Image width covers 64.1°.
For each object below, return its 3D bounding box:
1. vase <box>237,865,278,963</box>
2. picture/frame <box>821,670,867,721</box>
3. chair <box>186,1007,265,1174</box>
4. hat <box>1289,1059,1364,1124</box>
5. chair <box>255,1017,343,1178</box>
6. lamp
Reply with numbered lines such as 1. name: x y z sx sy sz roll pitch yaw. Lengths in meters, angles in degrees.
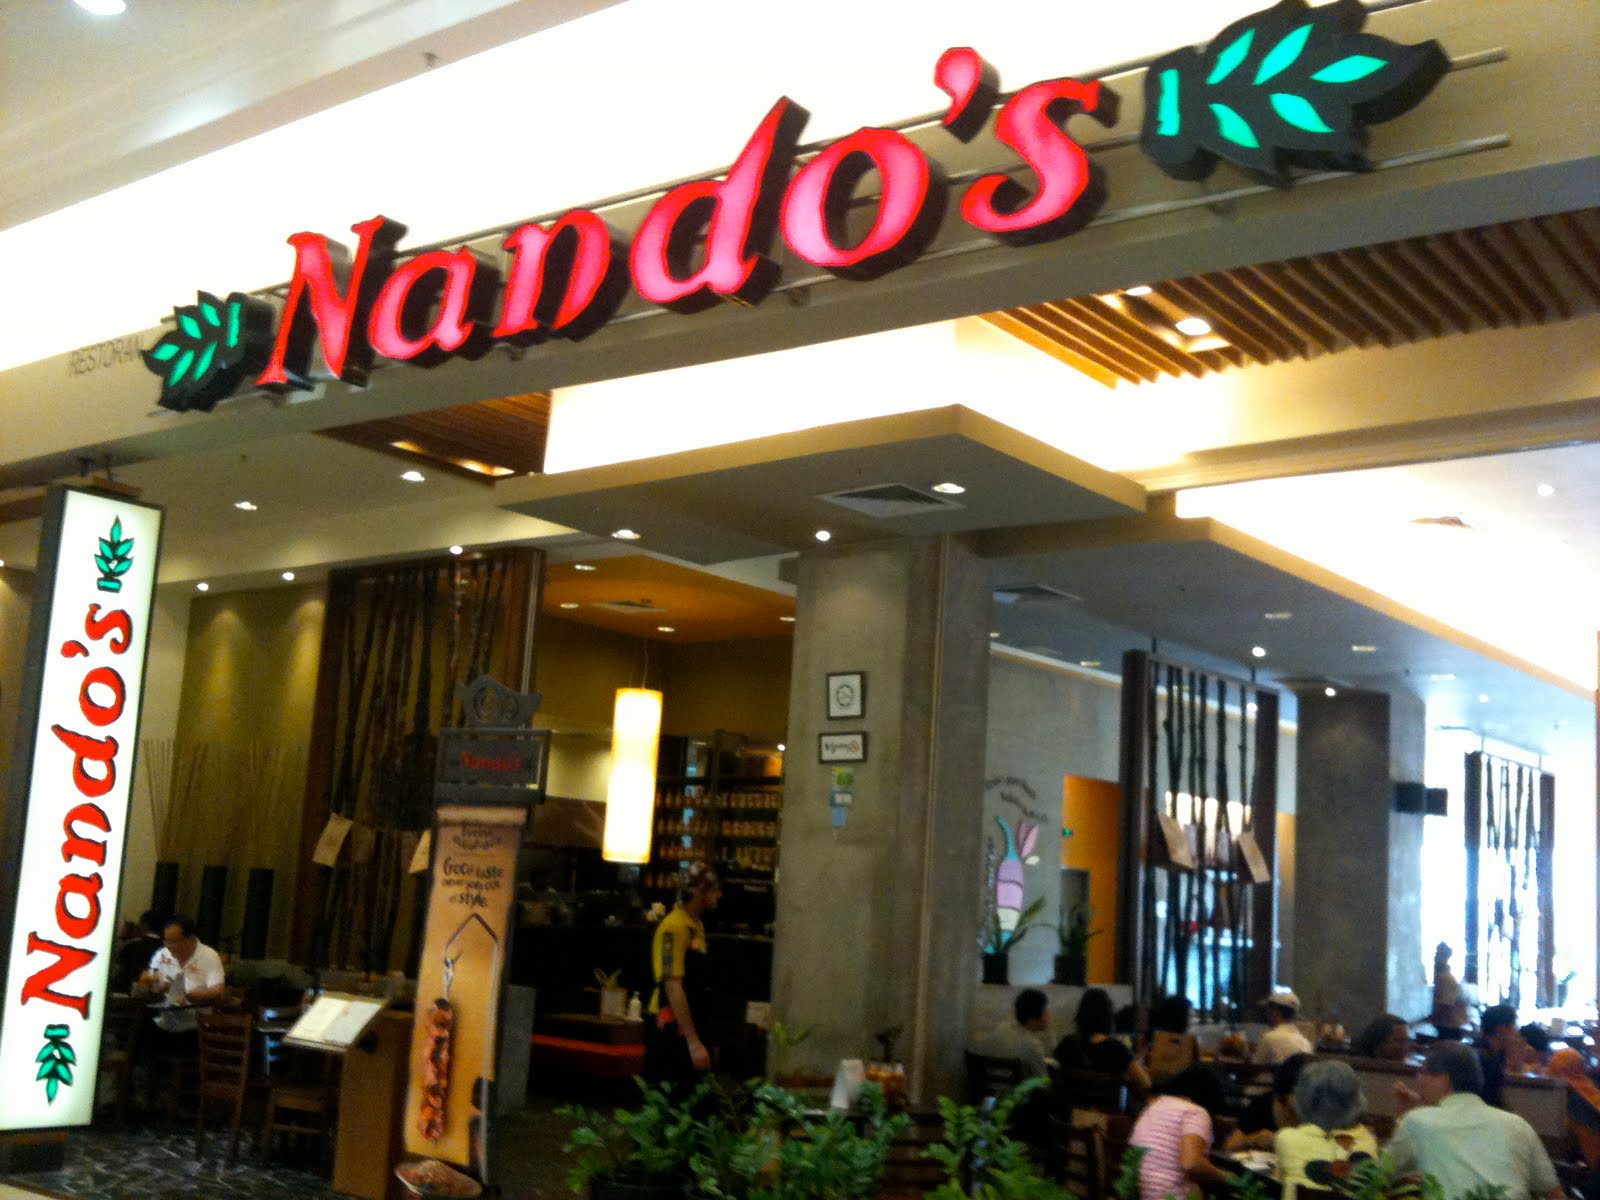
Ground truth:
1. vase: -5.344 3.142 12.635 0.230 0.964 0.227 6 -2 11
2. picture/frame: 0.301 0.632 8.361 0.304 0.330 0.057 -7 -17 38
3. chair: -3.750 3.135 8.386 0.428 0.874 1.254 10 -16 -19
4. hat: 2.230 2.074 5.480 0.240 0.133 0.316 -1 18 2
5. chair: -3.287 3.172 8.357 0.531 0.835 1.655 10 -16 -19
6. lamp: -1.423 1.466 10.945 0.392 1.485 0.418 7 -16 -12
